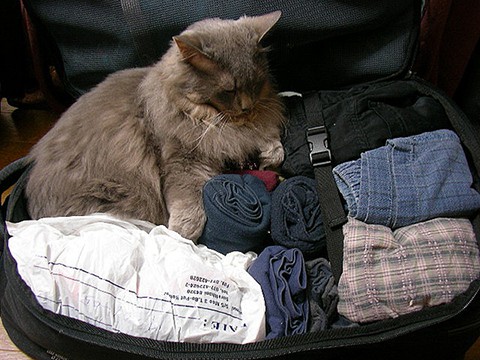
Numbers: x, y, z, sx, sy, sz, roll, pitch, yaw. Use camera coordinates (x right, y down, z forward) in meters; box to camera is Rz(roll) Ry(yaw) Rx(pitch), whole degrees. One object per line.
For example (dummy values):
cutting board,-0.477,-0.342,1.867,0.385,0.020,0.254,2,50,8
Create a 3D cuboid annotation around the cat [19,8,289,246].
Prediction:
cat,-0.273,-0.256,1.909,0.872,0.841,0.655,-6,28,-4
